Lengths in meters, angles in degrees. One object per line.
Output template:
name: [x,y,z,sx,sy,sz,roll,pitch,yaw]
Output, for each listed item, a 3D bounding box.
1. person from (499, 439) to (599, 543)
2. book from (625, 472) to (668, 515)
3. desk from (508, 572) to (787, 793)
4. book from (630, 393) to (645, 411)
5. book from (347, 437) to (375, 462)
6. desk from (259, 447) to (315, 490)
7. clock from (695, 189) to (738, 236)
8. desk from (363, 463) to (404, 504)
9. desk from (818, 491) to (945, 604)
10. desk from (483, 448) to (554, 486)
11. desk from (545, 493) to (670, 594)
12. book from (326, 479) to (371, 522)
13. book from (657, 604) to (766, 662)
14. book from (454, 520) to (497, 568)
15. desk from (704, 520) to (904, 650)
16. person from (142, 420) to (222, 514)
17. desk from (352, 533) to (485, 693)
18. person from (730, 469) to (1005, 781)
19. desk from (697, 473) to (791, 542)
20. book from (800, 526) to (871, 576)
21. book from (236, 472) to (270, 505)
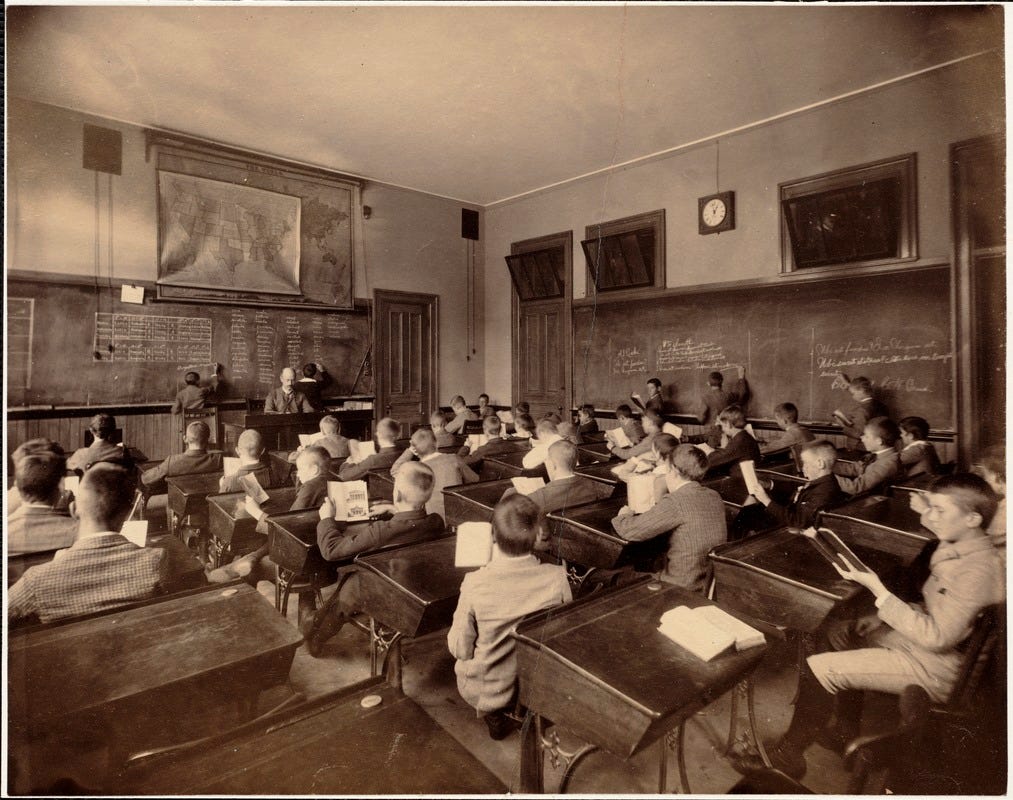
person: [0.233,0.510,4.067,0.421,0.731,0.406,-3,11,-25]
book: [0.695,0.486,3.771,0.172,0.208,0.187,2,-3,-20]
desk: [0.520,0.924,2.799,0.957,0.811,0.728,-5,7,-41]
book: [1.377,0.028,7.707,0.097,0.157,0.039,-16,-19,-36]
book: [-1.004,0.358,5.123,0.169,0.178,0.045,-6,-13,42]
desk: [-1.492,0.472,4.969,0.188,0.282,0.294,1,0,-39]
clock: [1.992,-1.766,6.910,0.077,0.435,0.483,0,0,-26]
desk: [-0.783,0.543,4.822,0.221,0.272,0.209,2,1,43]
desk: [1.899,0.704,3.688,0.364,0.237,0.468,-15,-5,14]
desk: [0.075,0.479,5.221,0.285,0.287,0.195,-1,2,-43]
desk: [0.532,0.671,3.886,0.443,0.574,0.568,-5,7,-36]
book: [-0.747,0.475,3.471,0.181,0.185,0.061,-7,6,-8]
book: [0.740,0.852,2.755,0.214,0.055,0.211,-14,23,-31]
book: [-0.132,0.631,3.178,0.229,0.238,0.055,4,-1,1]
desk: [1.234,0.667,3.171,0.605,0.250,0.423,-6,9,-41]
person: [-2.306,0.476,5.146,0.541,0.786,0.423,-6,16,-43]
desk: [-0.430,0.970,3.373,0.443,0.571,0.556,19,14,30]
person: [1.639,0.854,3.814,1.172,2.002,0.885,9,6,24]
desk: [1.480,0.629,4.500,0.434,0.601,0.444,-6,5,-15]
book: [1.456,0.661,3.267,0.247,0.058,0.173,42,2,-4]
book: [-1.352,0.475,3.947,0.113,0.171,0.223,-3,3,-15]
